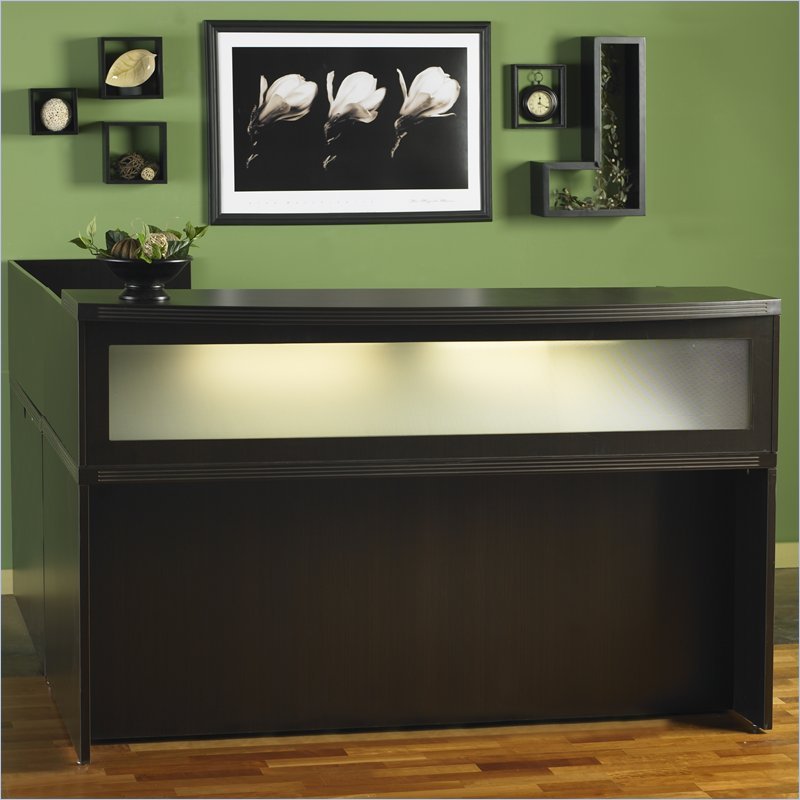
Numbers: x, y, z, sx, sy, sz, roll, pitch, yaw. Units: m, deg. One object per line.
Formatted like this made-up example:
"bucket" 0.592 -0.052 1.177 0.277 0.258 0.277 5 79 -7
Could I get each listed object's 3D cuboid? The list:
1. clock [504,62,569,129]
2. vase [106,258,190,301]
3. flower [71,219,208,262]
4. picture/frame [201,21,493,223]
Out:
"clock" 0.590 -1.253 3.560 0.248 0.242 0.082 11 27 37
"vase" -0.552 -0.261 1.880 0.171 0.102 0.274 -4 6 -20
"flower" -0.791 -0.474 2.513 0.388 0.142 0.378 -1 8 -25
"picture/frame" -0.260 -1.140 3.440 0.844 0.608 0.035 -1 7 -5
